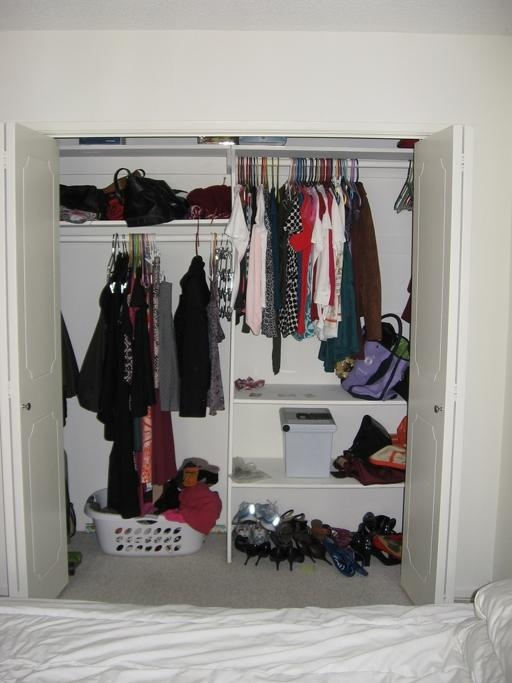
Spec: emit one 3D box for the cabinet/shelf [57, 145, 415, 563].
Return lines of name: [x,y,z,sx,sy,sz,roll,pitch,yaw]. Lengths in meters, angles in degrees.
cabinet/shelf: [-0.101,0.010,2.983,1.827,2.041,0.578,0,-1,-4]

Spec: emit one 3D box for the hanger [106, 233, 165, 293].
hanger: [-0.565,-0.371,2.959,0.204,0.310,0.100,3,3,-3]

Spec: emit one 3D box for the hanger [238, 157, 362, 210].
hanger: [0.202,-0.776,2.950,0.565,0.257,0.427,1,2,15]

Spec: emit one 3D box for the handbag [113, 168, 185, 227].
handbag: [-0.468,-0.652,2.871,0.305,0.238,0.130,0,1,-9]

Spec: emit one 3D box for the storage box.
storage box: [0.255,0.512,3.131,0.269,0.314,0.326,0,1,2]

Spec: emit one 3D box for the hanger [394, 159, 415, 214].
hanger: [0.729,-0.751,3.048,0.089,0.245,0.296,0,2,11]
